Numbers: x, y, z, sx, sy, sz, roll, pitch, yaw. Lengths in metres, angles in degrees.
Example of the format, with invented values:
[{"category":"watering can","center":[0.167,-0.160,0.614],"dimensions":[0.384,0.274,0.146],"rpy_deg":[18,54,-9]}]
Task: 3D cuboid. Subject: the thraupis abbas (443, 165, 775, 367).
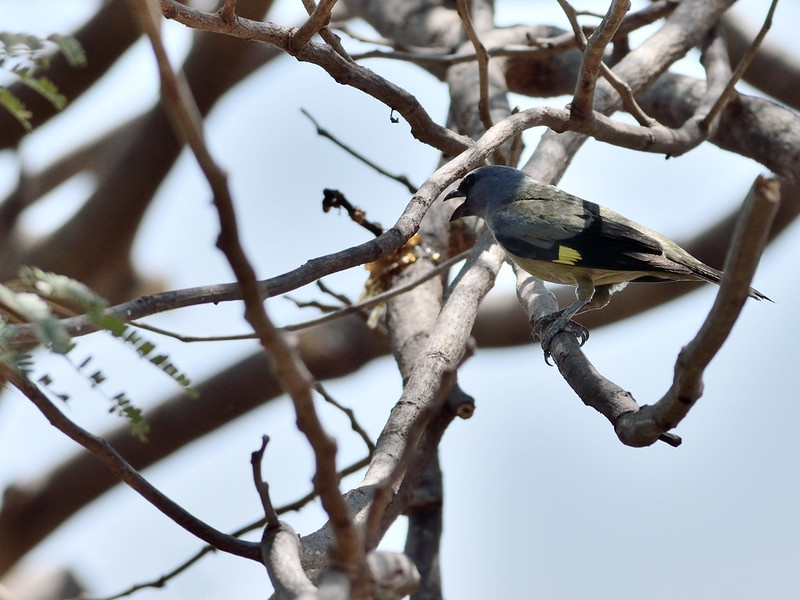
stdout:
[{"category":"thraupis abbas","center":[1.050,-0.269,6.232],"dimensions":[1.409,1.974,0.491],"rpy_deg":[8,-60,-6]}]
